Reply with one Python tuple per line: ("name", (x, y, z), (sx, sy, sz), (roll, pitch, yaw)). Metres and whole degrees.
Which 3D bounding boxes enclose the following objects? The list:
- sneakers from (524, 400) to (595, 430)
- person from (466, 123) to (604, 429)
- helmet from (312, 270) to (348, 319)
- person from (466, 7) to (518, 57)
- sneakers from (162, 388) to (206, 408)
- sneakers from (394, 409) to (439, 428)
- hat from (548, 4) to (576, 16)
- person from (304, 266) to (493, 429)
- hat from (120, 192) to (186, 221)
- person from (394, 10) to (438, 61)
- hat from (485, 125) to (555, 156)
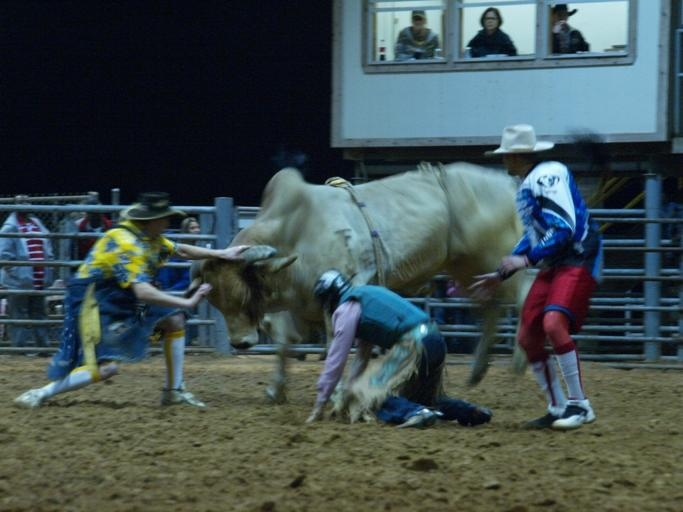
("sneakers", (2.034, 1.449, 10.717), (0.533, 0.185, 0.289), (-2, -9, -20))
("person", (1.890, 0.172, 10.741), (0.946, 2.770, 0.612), (0, 1, 21))
("helmet", (-0.081, 0.356, 10.782), (0.358, 0.375, 0.373), (1, 3, 13))
("person", (2.090, -3.084, 16.040), (0.788, 0.550, 0.373), (0, -4, 2))
("sneakers", (-1.535, 1.365, 11.291), (0.526, 0.183, 0.162), (1, -3, -1))
("sneakers", (0.704, 1.449, 10.568), (0.401, 0.174, 0.169), (0, 1, -1))
("hat", (3.016, -3.321, 15.836), (0.386, 0.174, 0.204), (1, -1, 0))
("person", (0.319, 0.897, 11.129), (1.917, 1.277, 1.144), (2, -3, 24))
("hat", (-1.772, -0.456, 10.911), (0.393, 0.121, 0.326), (-7, 10, -28))
("person", (1.071, -3.049, 16.207), (0.782, 0.861, 0.493), (0, -11, 6))
("hat", (1.776, -1.072, 10.896), (0.367, 0.141, 0.438), (-7, 1, 40))
